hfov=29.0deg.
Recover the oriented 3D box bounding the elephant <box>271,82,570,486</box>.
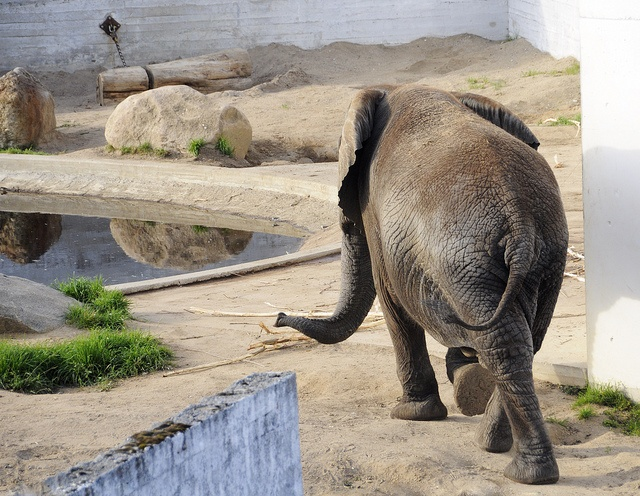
[{"bbox_3d":[1.393,0.099,14.375,2.669,3.827,6.319,-2,14,-10],"label":"elephant"}]
